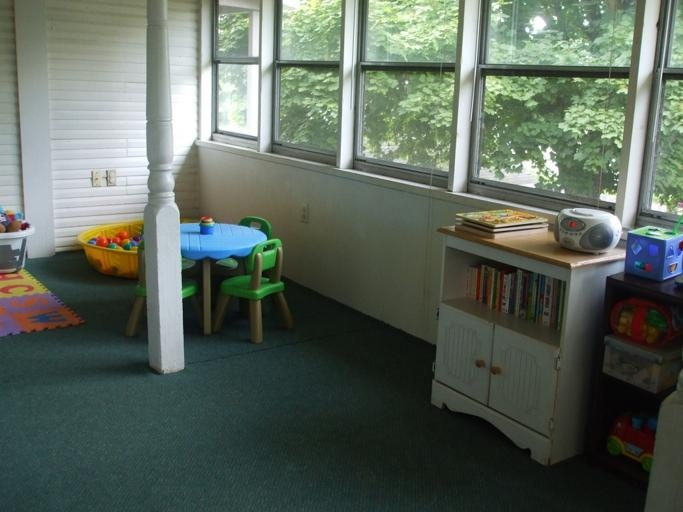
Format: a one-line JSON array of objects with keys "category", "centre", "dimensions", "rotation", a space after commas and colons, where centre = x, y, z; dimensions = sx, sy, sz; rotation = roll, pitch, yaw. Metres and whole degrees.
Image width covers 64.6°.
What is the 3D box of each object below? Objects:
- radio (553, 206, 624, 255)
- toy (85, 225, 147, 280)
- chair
[{"category": "radio", "centre": [1.323, -0.142, 2.937], "dimensions": [0.306, 0.247, 0.329], "rotation": [-15, 21, -36]}, {"category": "toy", "centre": [-2.354, -0.024, 5.402], "dimensions": [0.720, 0.311, 0.724], "rotation": [-8, 22, -30]}, {"category": "chair", "centre": [-0.881, 0.046, 4.559], "dimensions": [1.017, 0.646, 1.056], "rotation": [0, 9, -5]}]
